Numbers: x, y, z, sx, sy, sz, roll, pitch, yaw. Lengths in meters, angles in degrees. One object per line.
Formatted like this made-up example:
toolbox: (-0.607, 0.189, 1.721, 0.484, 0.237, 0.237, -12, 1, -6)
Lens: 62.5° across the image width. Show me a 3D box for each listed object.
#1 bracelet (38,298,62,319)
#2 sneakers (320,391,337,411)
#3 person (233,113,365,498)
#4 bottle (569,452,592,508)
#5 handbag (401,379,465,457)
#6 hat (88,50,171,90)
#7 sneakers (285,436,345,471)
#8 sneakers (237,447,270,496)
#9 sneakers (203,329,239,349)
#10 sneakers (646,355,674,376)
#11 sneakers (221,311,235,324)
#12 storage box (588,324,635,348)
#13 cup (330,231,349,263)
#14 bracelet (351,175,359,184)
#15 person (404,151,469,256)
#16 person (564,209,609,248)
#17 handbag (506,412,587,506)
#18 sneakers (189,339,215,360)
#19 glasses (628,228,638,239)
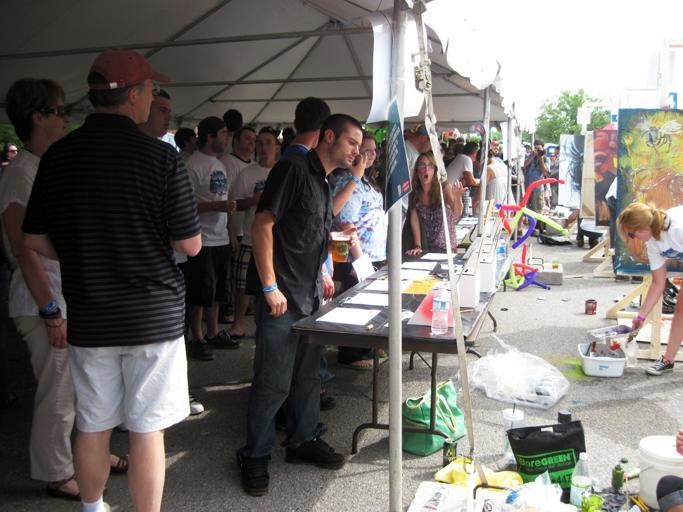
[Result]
bracelet: (-1.722, 0.321, 3.303, 0.123, 0.093, 0.096, -23, -16, -1)
sneakers: (-0.127, 1.233, 4.777, 0.084, 0.169, 0.228, 0, -4, -44)
person: (-0.294, 0.284, 3.686, 0.886, 2.371, 0.430, -5, 10, -21)
bottle: (1.411, 1.308, 3.313, 0.117, 0.318, 0.207, 3, 11, 24)
handbag: (0.705, 1.198, 4.207, 0.591, 0.422, 0.292, -11, 13, -41)
hat: (-1.103, -0.963, 2.916, 0.277, 0.187, 0.411, 7, 20, 35)
sneakers: (-0.169, 1.357, 3.880, 0.408, 0.265, 0.174, 0, 1, 2)
sneakers: (-0.573, 1.379, 3.673, 0.185, 0.234, 0.299, -4, 10, -13)
sneakers: (-1.257, 0.877, 5.927, 0.437, 0.209, 0.149, 2, -2, -1)
sneakers: (3.031, 1.058, 5.343, 0.367, 0.163, 0.125, 6, -8, -31)
sneakers: (-1.405, 0.763, 6.980, 0.128, 0.121, 0.214, -2, 1, 2)
storage box: (2.602, 0.773, 5.429, 0.320, 0.076, 0.191, -6, 19, 31)
cup: (0.014, -0.066, 4.299, 0.161, 0.205, 0.196, 0, -1, -42)
bracelet: (0.118, -0.645, 4.723, 0.054, 0.023, 0.055, 8, -7, -8)
person: (1.022, -0.563, 6.196, 0.665, 1.163, 0.626, -6, -9, 3)
person: (5.346, -0.617, 12.428, 0.779, 0.865, 1.703, 2, 11, 21)
handbag: (1.303, 1.261, 3.527, 0.418, 0.444, 0.182, -9, 15, 5)
sneakers: (-1.405, 0.945, 5.659, 0.131, 0.126, 0.324, 0, 0, -42)
glasses: (2.681, -0.212, 5.174, 0.059, 0.052, 0.045, -34, 24, -17)
